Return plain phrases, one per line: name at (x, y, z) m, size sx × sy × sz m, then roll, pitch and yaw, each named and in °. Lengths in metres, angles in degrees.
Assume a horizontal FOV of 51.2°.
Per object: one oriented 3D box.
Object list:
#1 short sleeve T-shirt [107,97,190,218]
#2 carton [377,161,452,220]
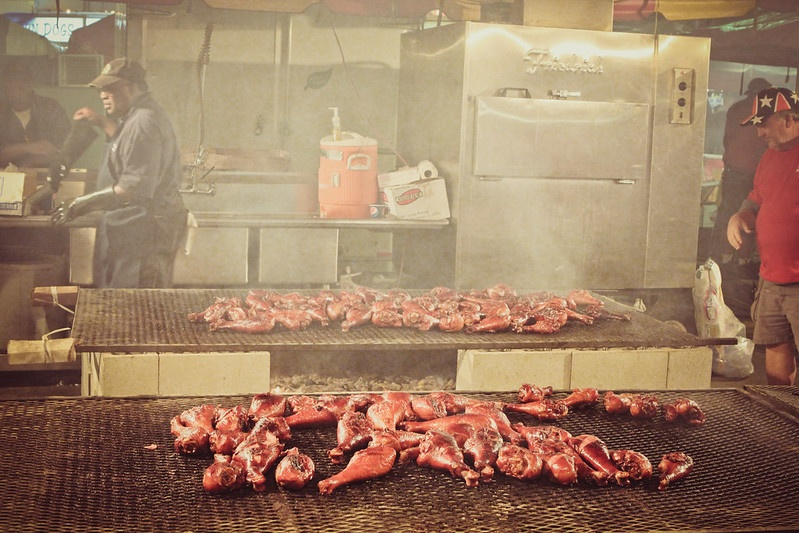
short sleeve T-shirt at (-2.163, -0.960, 6.991) m, size 0.659 × 0.917 × 1.125 m, roll 1°, pitch 29°, yaw -12°
carton at (0.121, -0.623, 6.999) m, size 0.585 × 0.502 × 0.280 m, roll -2°, pitch 6°, yaw -5°
